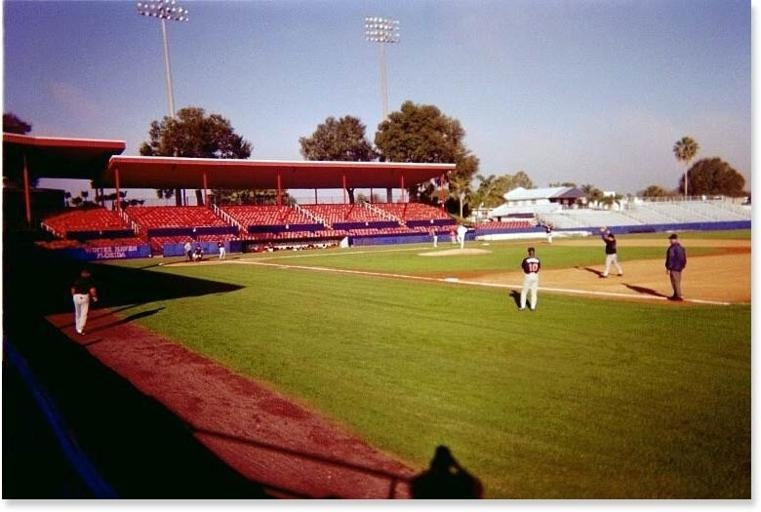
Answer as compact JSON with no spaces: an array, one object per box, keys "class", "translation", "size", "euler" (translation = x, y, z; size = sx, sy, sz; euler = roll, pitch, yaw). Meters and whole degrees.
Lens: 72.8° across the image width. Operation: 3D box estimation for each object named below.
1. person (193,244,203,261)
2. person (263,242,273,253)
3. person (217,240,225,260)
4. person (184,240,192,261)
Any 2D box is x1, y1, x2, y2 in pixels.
[{"class":"person","translation":[-13.382,-0.175,37.932],"size":[0.582,0.952,1.568],"euler":[-4,6,-21]},{"class":"person","translation":[-10.549,-0.761,48.935],"size":[1.001,0.976,1.021],"euler":[-4,4,-7]},{"class":"person","translation":[-13.012,-0.461,42.366],"size":[0.508,1.502,0.560],"euler":[-18,50,-4]},{"class":"person","translation":[-14.231,-0.320,38.598],"size":[0.439,1.171,1.754],"euler":[-4,6,-17]}]
